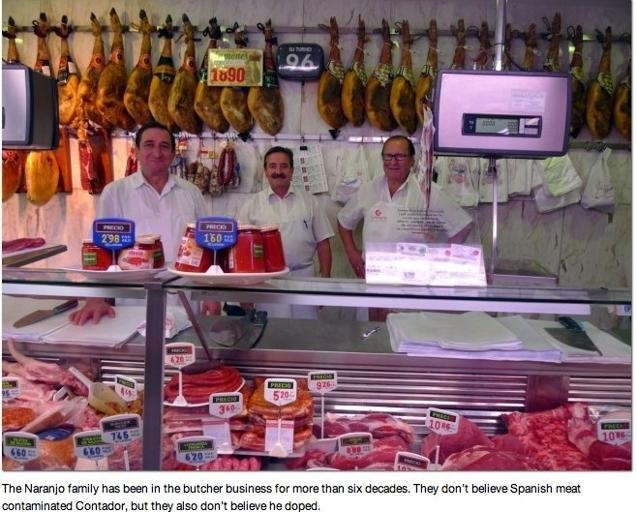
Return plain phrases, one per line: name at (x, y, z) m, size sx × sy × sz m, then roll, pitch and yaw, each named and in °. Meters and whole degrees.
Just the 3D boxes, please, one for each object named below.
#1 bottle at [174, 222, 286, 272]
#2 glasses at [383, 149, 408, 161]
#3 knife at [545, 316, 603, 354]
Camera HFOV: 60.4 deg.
bottle at (-0.309, -0.004, 1.834) m, size 0.213 × 0.097 × 0.231 m, roll 0°, pitch 2°, yaw 0°
glasses at (0.519, -0.666, 3.684) m, size 0.164 × 0.052 × 0.059 m, roll 0°, pitch 14°, yaw 10°
knife at (1.014, 0.312, 2.200) m, size 0.189 × 0.055 × 0.272 m, roll 1°, pitch 15°, yaw 17°
